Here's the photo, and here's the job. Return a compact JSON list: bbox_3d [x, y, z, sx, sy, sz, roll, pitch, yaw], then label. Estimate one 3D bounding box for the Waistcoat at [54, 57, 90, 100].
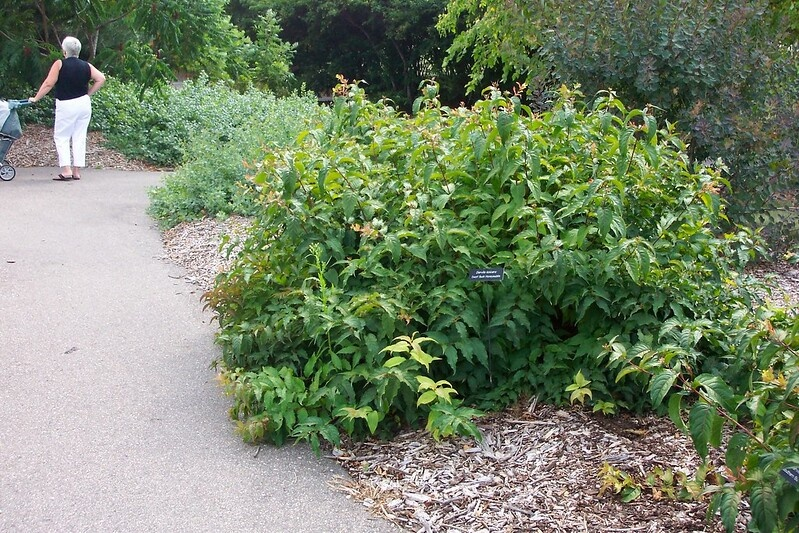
[{"bbox_3d":[-5.404,-3.100,10.748,0.660,0.853,0.473,-5,21,-33],"label":"Waistcoat"}]
